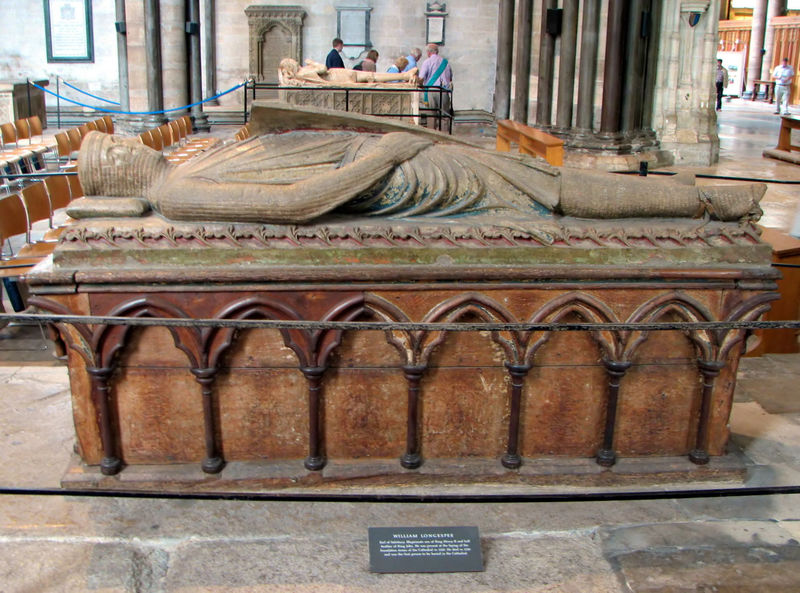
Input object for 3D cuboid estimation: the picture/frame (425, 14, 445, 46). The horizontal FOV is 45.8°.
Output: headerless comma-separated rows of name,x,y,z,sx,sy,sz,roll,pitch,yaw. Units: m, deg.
picture/frame,0.732,-5.601,19.946,0.403,0.596,0.150,-1,24,1
